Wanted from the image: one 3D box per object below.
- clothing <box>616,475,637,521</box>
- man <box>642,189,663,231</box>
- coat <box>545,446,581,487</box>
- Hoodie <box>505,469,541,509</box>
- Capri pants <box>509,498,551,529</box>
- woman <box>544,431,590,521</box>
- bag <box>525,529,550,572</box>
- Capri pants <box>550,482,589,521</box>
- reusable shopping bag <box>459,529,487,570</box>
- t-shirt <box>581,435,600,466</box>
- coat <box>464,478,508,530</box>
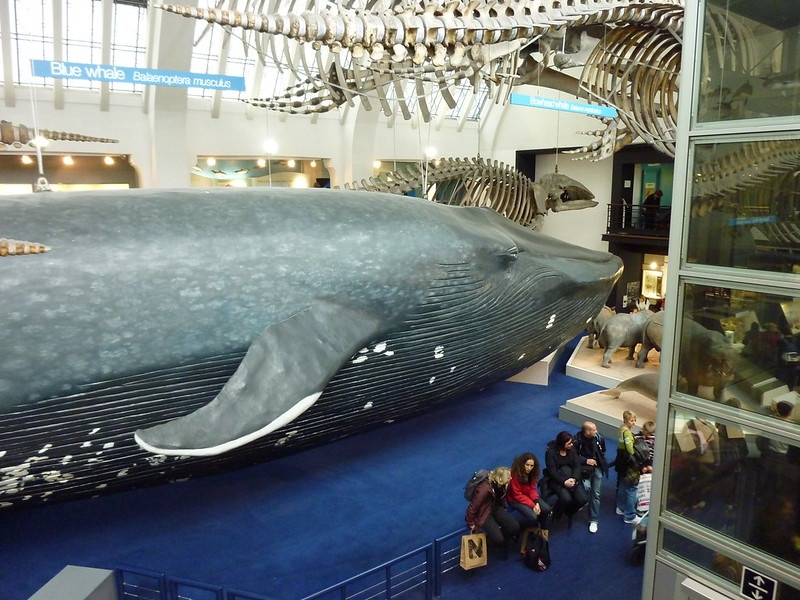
[{"bbox_3d":[2.585,2.245,5.700,0.229,0.701,0.238,-31,40,-4],"label":"clothing"},{"bbox_3d":[8.513,-2.905,16.884,0.626,1.570,0.533,4,19,13],"label":"man"},{"bbox_3d":[1.805,1.853,5.573,0.395,0.439,0.417,2,-31,-7],"label":"coat"},{"bbox_3d":[1.297,1.985,5.269,0.287,0.340,0.327,14,37,-26],"label":"Hoodie"},{"bbox_3d":[1.347,2.203,5.274,0.413,0.110,0.392,16,0,-26],"label":"Capri pants"},{"bbox_3d":[1.848,1.970,5.614,0.593,0.892,0.542,-3,8,-6],"label":"woman"},{"bbox_3d":[1.397,2.548,5.089,0.366,0.383,0.212,3,-22,-4],"label":"bag"},{"bbox_3d":[1.838,2.248,5.614,0.334,0.242,0.509,21,-28,0],"label":"Capri pants"},{"bbox_3d":[0.751,2.423,4.910,0.330,0.322,0.135,-7,15,-25],"label":"reusable shopping bag"},{"bbox_3d":[2.153,1.698,5.662,0.201,0.302,0.086,6,-23,-7],"label":"t-shirt"},{"bbox_3d":[0.870,2.052,5.148,0.262,0.472,0.544,4,-3,39],"label":"coat"}]
